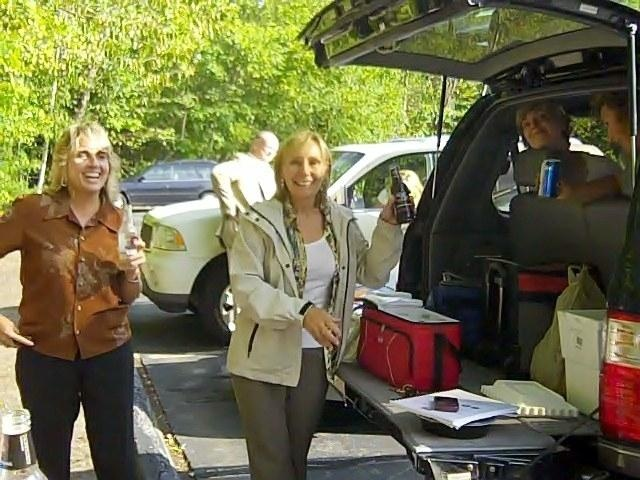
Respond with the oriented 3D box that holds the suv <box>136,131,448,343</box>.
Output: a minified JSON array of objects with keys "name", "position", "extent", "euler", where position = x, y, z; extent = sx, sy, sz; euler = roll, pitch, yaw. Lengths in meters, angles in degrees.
[{"name":"suv","position":[-0.307,-0.117,7.044],"extent":[3.802,2.022,2.168],"euler":[0,1,-12]}]

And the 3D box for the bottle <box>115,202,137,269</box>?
[{"name":"bottle","position":[-1.043,-0.010,2.850],"extent":[0.098,0.101,0.424],"euler":[0,40,-13]}]

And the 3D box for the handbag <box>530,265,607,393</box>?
[{"name":"handbag","position":[1.280,0.474,2.690],"extent":[0.322,0.654,0.392],"euler":[4,8,15]}]

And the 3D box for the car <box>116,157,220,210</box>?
[{"name":"car","position":[-5.440,-2.384,24.333],"extent":[6.802,2.553,3.090],"euler":[0,0,-11]}]

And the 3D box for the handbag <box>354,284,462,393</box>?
[{"name":"handbag","position":[0.530,0.560,2.985],"extent":[0.381,0.389,0.564],"euler":[0,4,-20]}]
